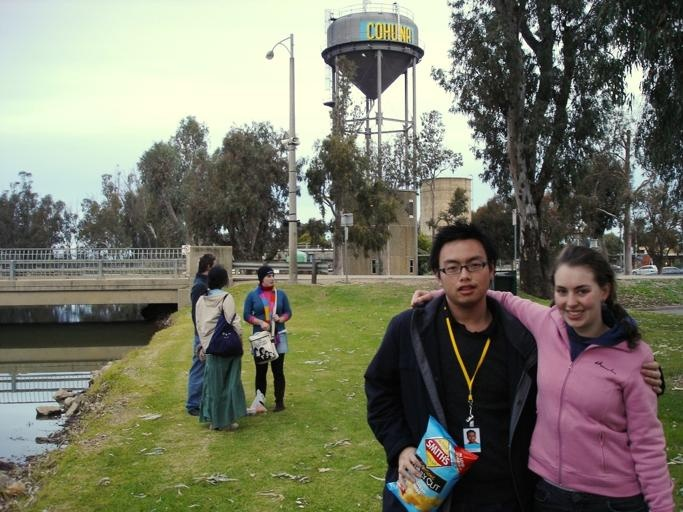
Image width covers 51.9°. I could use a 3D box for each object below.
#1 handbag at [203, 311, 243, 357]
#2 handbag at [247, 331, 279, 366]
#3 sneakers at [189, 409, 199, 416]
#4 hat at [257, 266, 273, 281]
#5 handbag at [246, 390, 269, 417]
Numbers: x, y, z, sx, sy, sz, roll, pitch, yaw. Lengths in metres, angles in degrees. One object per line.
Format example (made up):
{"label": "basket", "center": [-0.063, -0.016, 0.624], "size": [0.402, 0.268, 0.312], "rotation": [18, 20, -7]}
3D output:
{"label": "handbag", "center": [-1.664, 1.088, 9.676], "size": [0.472, 0.744, 0.304], "rotation": [2, 4, 16]}
{"label": "handbag", "center": [-1.116, 1.321, 10.066], "size": [0.359, 0.455, 0.238], "rotation": [-2, 4, -10]}
{"label": "sneakers", "center": [-2.208, 2.345, 10.506], "size": [0.117, 0.056, 0.073], "rotation": [7, 3, 29]}
{"label": "hat", "center": [-1.146, 0.243, 10.350], "size": [0.195, 0.210, 0.203], "rotation": [-9, 1, 11]}
{"label": "handbag", "center": [-1.260, 2.244, 10.530], "size": [0.269, 0.367, 0.277], "rotation": [1, -6, 33]}
